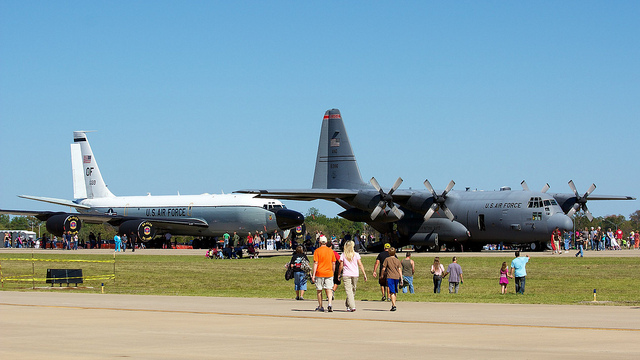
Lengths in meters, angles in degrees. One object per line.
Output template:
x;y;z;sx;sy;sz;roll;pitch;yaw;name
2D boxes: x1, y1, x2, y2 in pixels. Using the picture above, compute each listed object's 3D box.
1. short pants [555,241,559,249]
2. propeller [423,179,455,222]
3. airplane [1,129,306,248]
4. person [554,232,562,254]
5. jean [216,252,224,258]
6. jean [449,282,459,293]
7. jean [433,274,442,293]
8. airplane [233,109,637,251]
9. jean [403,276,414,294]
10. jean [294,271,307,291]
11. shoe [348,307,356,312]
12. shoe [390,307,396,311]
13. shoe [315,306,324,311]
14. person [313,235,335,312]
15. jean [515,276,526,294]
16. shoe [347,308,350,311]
16.588;4.577;60.478;0.260;0.528;0.680;-1;-2;13;short pants
8.788;1.681;63.660;2.156;2.897;1.687;-1;-2;6;propeller
-15.311;3.121;78.486;19.836;5.777;17.361;-1;-2;40;airplane
16.678;4.446;60.565;0.478;1.470;1.030;-1;-2;12;person
-6.989;5.347;61.293;0.528;0.380;0.507;0;-2;-7;jean
6.217;4.960;39.965;0.363;0.458;0.863;-1;-2;5;jean
5.519;4.810;40.253;0.364;0.842;0.690;-1;-2;5;jean
7.920;2.318;64.739;20.784;6.120;15.611;3;-4;-40;airplane
4.121;4.836;40.029;0.490;0.814;1.068;-1;-2;5;jean
-0.807;4.293;36.872;0.424;0.791;0.288;0;-2;-1;jean
1.315;5.137;34.241;0.230;0.171;0.149;0;-2;-21;shoe
2.945;5.129;34.332;0.258;0.126;0.121;1;-2;-36;shoe
-0.002;5.113;34.362;0.340;0.195;0.307;-1;-2;9;shoe
0.197;3.742;34.727;0.868;2.965;1.275;0;-2;0;person
9.185;4.798;39.673;0.380;0.751;0.372;-1;-2;4;jean
1.168;5.137;34.318;0.159;0.116;0.033;0;-15;17;shoe
